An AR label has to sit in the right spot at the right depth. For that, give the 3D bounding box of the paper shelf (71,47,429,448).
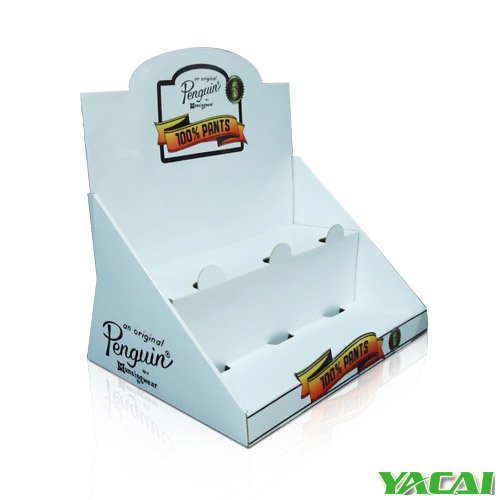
[{"bbox_3d":[0.062,-0.186,2.595,1.135,1.538,1.458,8,18,43],"label":"paper shelf"}]
